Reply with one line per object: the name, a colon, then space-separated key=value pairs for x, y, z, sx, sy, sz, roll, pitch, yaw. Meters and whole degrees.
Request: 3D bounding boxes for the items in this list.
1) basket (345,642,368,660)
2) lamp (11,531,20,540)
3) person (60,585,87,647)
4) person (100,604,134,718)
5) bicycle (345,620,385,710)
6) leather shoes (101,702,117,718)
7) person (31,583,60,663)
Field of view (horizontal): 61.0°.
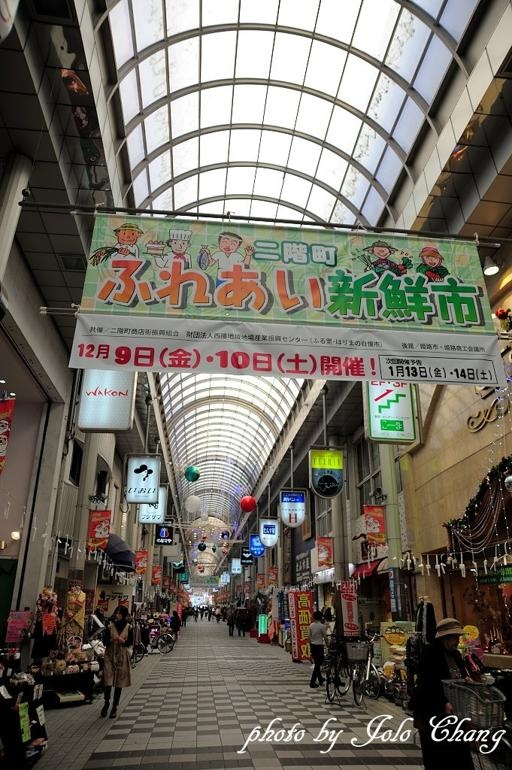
basket: x=1.966 y=5.235 z=8.621 sx=0.440 sy=0.355 sz=0.322 roll=7 pitch=-38 yaw=-5
lamp: x=-4.970 y=3.104 z=9.032 sx=0.151 sy=0.174 sz=0.105 roll=-7 pitch=-24 yaw=12
person: x=-3.604 y=4.550 z=8.695 sx=0.436 sy=1.032 sz=1.012 roll=7 pitch=-25 yaw=-19
person: x=-2.164 y=4.271 z=6.859 sx=0.416 sy=1.501 sz=1.029 roll=5 pitch=-25 yaw=-15
bicycle: x=2.259 y=5.631 z=8.751 sx=0.797 sy=1.114 sz=1.749 roll=1 pitch=-34 yaw=2
leather shoes: x=-2.164 y=4.847 z=6.503 sx=0.201 sy=0.115 sz=0.325 roll=12 pitch=-66 yaw=2
person: x=-3.846 y=4.372 z=8.052 sx=0.439 sy=1.180 sz=0.973 roll=9 pitch=-26 yaw=-22
